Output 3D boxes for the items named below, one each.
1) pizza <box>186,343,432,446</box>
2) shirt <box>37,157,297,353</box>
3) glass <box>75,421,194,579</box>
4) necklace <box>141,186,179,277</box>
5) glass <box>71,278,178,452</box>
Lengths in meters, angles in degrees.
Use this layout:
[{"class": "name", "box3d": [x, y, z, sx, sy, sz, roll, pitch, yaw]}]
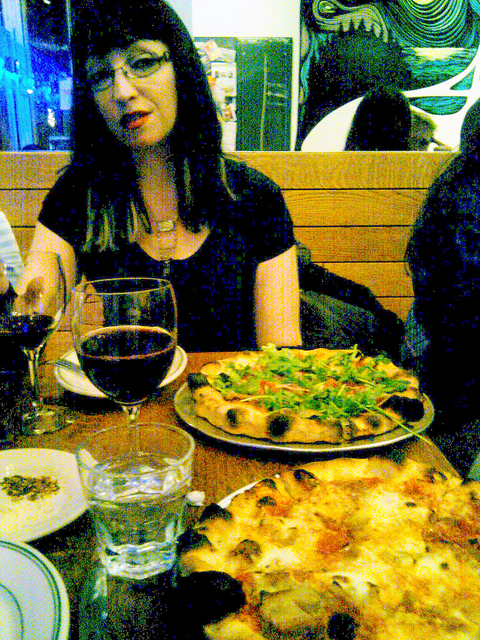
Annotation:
[{"class": "pizza", "box3d": [0.092, 0.085, 0.738, 0.311, 0.054, 0.363, -1, 17, 6]}, {"class": "shirt", "box3d": [-0.232, -0.267, 1.835, 0.751, 0.746, 0.443, 12, 40, 10]}, {"class": "glass", "box3d": [-0.064, 0.133, 0.440, 0.092, 0.110, 0.096, -1, 18, 0]}, {"class": "necklace", "box3d": [-0.234, -0.302, 1.651, 0.079, 0.207, 0.097, -17, 21, -42]}, {"class": "glass", "box3d": [-0.115, 0.075, 0.560, 0.078, 0.190, 0.077, -5, 24, -12]}]
